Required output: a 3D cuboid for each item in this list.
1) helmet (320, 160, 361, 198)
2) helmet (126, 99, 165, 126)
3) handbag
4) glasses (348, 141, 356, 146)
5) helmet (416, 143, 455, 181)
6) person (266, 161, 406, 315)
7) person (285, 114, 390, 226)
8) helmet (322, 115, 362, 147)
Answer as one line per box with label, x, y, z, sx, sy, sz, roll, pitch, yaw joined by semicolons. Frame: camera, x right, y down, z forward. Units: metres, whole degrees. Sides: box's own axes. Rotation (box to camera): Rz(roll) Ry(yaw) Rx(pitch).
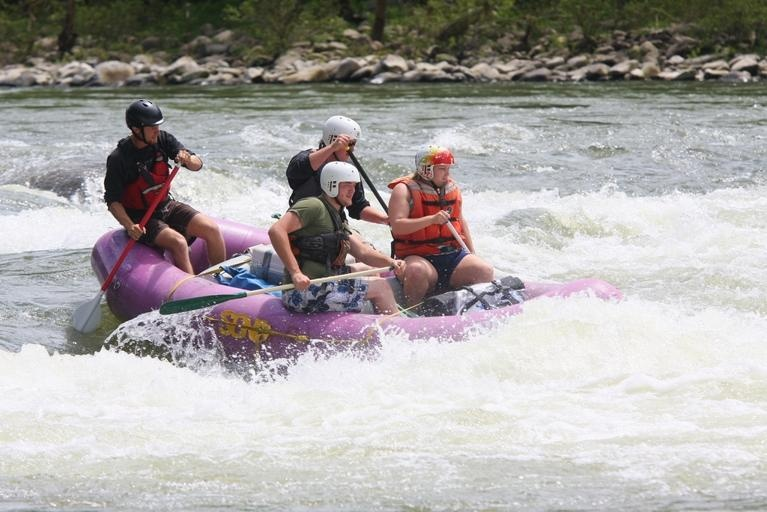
helmet;-0.457;-0.771;11.083;0.465;0.272;0.281;2;11;7
helmet;-2.499;-1.487;11.817;0.423;0.230;0.260;12;10;-5
handbag;0.898;0.422;11.295;0.731;0.173;0.487;-16;4;-19
glasses;-0.344;-1.182;11.816;0.086;0.022;0.081;-6;-24;-3
helmet;0.498;-0.959;11.585;0.448;0.281;0.308;-20;-1;27
person;-0.508;-0.163;11.010;1.274;1.495;0.481;-2;9;-27
person;-0.326;-0.871;12.012;1.503;1.096;0.993;0;19;11
helmet;-0.468;-1.327;12.003;0.425;0.256;0.286;-10;-4;28
